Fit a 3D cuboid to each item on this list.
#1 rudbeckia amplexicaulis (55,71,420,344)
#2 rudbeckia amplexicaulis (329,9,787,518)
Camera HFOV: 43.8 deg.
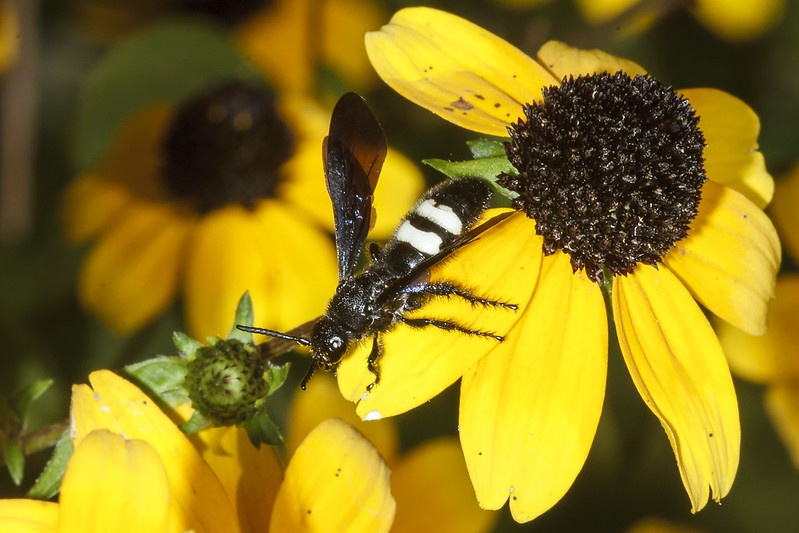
[{"bbox_3d":[-0.211,-0.060,1.236,0.324,0.102,0.324,-42,77,-7],"label":"rudbeckia amplexicaulis"},{"bbox_3d":[0.207,-0.006,1.189,0.545,0.272,0.534,6,52,-1],"label":"rudbeckia amplexicaulis"}]
